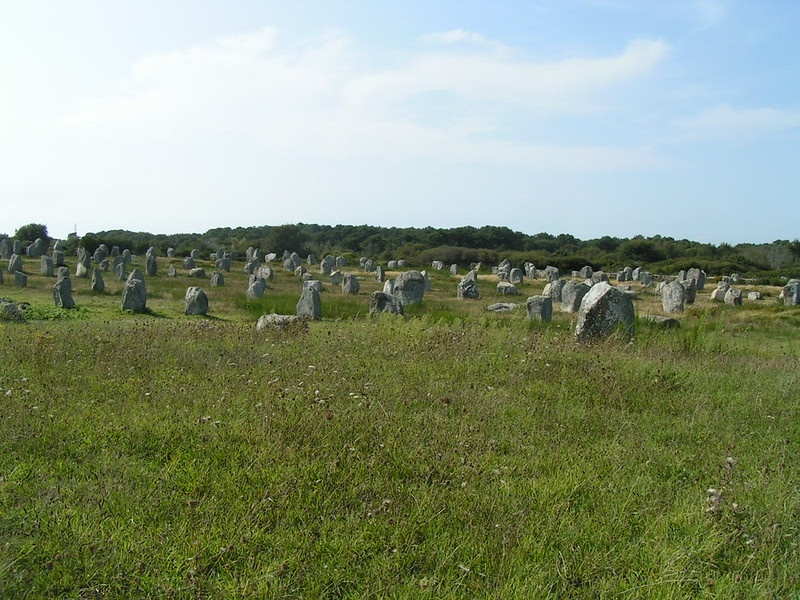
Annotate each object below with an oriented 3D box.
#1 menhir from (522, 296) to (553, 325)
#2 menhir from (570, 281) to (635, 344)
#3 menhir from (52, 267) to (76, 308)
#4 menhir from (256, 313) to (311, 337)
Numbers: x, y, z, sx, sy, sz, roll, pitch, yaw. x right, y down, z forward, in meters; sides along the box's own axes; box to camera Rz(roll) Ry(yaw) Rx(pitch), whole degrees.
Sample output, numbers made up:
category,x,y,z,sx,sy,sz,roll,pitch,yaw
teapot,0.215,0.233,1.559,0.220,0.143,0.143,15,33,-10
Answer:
category,x,y,z,sx,sy,sz,roll,pitch,yaw
menhir,4.083,0.275,20.193,0.651,0.973,0.668,1,-1,29
menhir,4.080,0.251,13.603,1.043,1.319,0.963,-2,3,-3
menhir,-10.075,-0.350,20.336,0.418,1.343,0.497,27,28,36
menhir,-2.479,0.523,14.154,1.200,0.333,0.752,10,3,21
